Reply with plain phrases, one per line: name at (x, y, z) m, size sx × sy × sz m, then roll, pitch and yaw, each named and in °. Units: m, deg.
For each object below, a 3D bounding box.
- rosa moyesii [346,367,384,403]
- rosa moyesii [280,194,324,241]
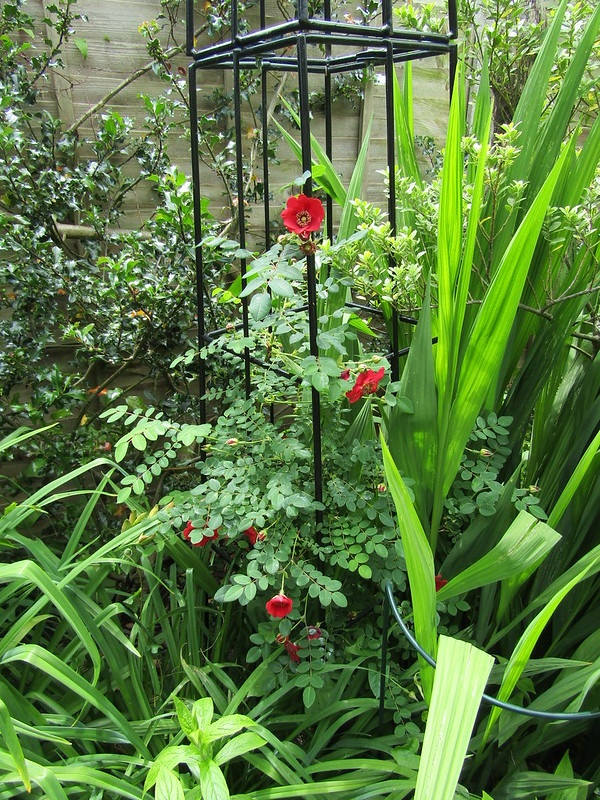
rosa moyesii at (0.105, -0.029, 0.970) m, size 0.024 × 0.051 × 0.051 m, roll 38°, pitch 38°, yaw -6°
rosa moyesii at (0.005, -0.263, 0.908) m, size 0.057 × 0.060 × 0.117 m, roll 1°, pitch 21°, yaw 0°
